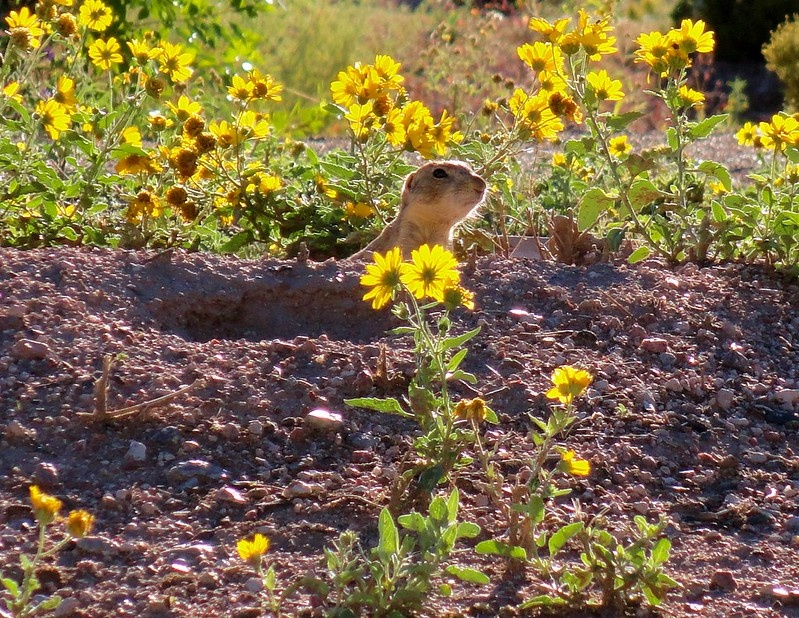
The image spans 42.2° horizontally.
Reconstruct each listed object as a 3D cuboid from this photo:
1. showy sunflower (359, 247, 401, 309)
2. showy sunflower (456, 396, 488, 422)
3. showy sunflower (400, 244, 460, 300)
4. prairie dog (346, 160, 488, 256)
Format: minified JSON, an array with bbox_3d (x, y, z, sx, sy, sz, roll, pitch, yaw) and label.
[{"bbox_3d":[-0.050,-0.094,3.363,0.143,0.227,0.142,1,18,8],"label":"showy sunflower"},{"bbox_3d":[0.244,0.299,3.238,0.089,0.055,0.089,36,-30,-26],"label":"showy sunflower"},{"bbox_3d":[0.124,-0.103,3.282,0.178,0.179,0.179,23,13,40],"label":"showy sunflower"},{"bbox_3d":[0.180,-0.521,5.710,0.783,0.581,0.668,-6,3,-19],"label":"prairie dog"}]
